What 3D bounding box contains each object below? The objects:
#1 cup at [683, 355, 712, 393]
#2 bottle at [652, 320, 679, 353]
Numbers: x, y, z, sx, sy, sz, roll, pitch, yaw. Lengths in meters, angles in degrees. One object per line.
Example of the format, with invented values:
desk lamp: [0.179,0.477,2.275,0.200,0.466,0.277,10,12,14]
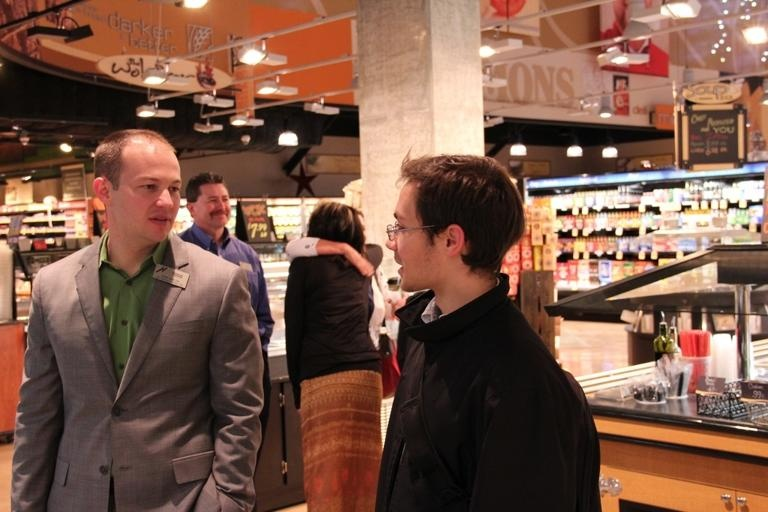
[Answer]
cup: [1.787,0.644,3.579,0.193,0.204,0.195,1,2,0]
bottle: [1.794,0.509,3.979,0.124,0.214,0.350,1,2,28]
